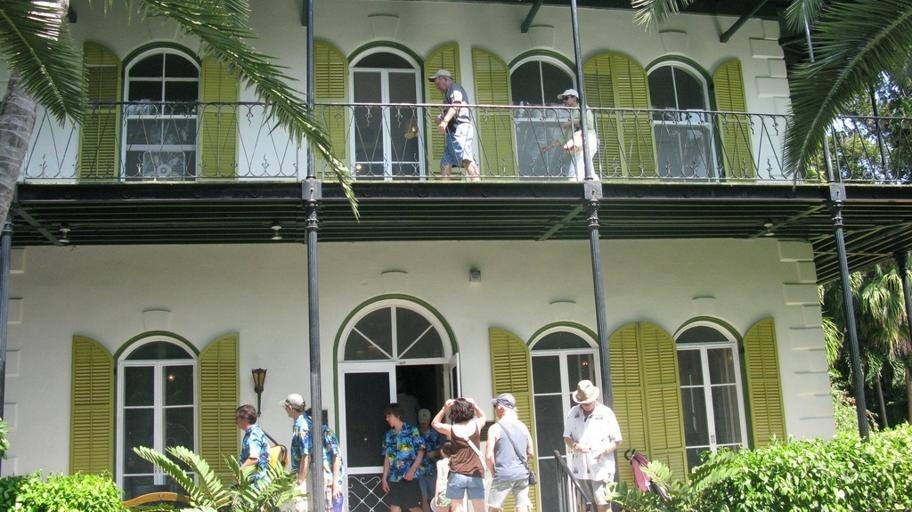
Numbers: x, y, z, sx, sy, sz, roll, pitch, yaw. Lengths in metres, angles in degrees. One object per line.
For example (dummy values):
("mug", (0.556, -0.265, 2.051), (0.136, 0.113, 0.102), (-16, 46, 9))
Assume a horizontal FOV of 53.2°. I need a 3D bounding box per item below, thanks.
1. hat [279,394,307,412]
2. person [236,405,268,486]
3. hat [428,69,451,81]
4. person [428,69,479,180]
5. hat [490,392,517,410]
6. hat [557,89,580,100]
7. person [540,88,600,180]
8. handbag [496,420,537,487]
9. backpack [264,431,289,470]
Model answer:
("hat", (-2.625, 2.354, 14.522), (0.363, 0.211, 0.259), (21, 16, 38))
("person", (-3.256, 3.059, 14.330), (0.480, 1.323, 0.588), (-3, -41, -13))
("hat", (-0.315, -3.289, 16.376), (0.426, 0.196, 0.276), (1, -2, -4))
("person", (-0.101, -2.301, 16.456), (1.043, 2.470, 1.034), (3, -33, -7))
("hat", (0.668, 2.317, 14.465), (0.487, 0.254, 0.343), (7, -6, 23))
("hat", (2.000, -2.941, 16.288), (0.344, 0.125, 0.240), (4, -7, -38))
("person", (2.055, -1.915, 16.433), (0.868, 2.105, 0.769), (-7, -5, 29))
("handbag", (0.996, 3.183, 14.470), (0.332, 0.936, 1.254), (-7, -16, 13))
("backpack", (-3.017, 3.174, 14.635), (0.381, 0.574, 0.591), (2, -15, -29))
